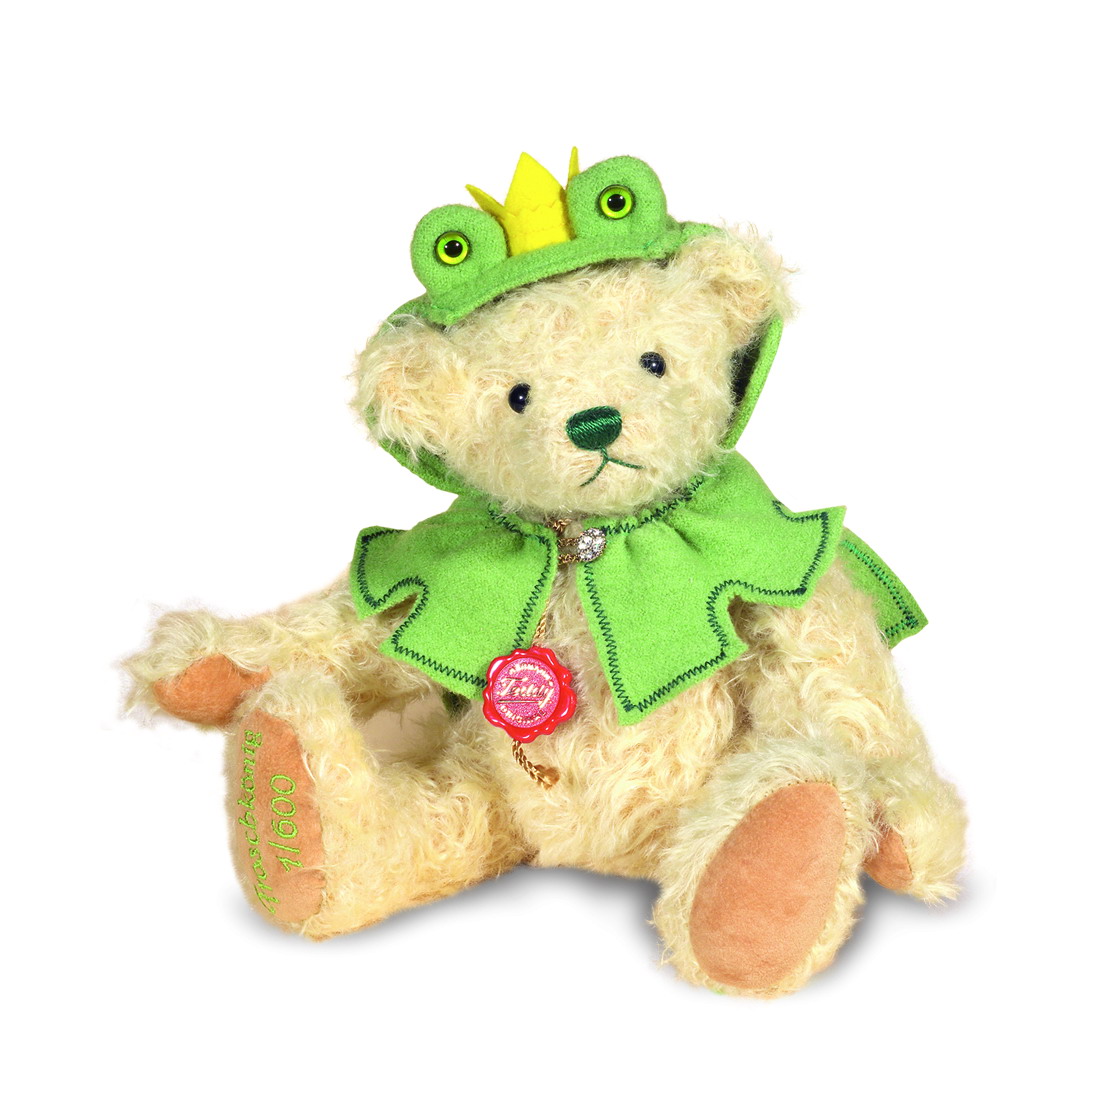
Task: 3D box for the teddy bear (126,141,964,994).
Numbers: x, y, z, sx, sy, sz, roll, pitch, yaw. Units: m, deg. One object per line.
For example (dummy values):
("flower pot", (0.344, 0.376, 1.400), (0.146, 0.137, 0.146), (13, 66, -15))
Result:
("teddy bear", (-0.014, 0.015, 2.334), (1.573, 1.123, 0.985), (-1, 2, 43))
